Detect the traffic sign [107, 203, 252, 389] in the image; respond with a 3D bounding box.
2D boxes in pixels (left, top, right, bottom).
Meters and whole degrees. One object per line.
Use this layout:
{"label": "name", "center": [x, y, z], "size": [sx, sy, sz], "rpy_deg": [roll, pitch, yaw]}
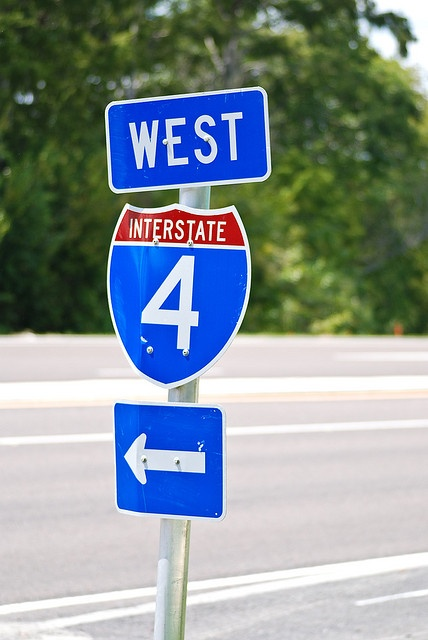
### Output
{"label": "traffic sign", "center": [-0.177, -0.140, 5.116], "size": [0.636, 0.616, 0.645], "rpy_deg": [3, 45, -5]}
